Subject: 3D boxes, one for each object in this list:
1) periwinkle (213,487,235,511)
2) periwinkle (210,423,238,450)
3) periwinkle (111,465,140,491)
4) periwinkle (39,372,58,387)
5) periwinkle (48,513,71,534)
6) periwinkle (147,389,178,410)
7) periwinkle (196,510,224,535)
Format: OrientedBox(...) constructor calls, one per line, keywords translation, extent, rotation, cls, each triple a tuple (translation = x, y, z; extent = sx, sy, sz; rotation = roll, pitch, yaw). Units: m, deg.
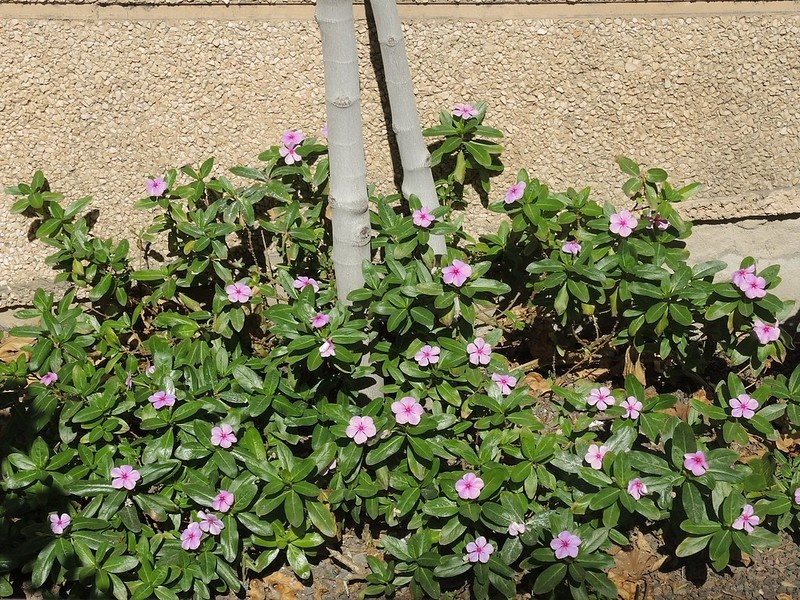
OrientedBox(translation=(-0.852, 0.969, 3.626), extent=(0.108, 0.087, 0.072), rotation=(-14, 42, -15), cls="periwinkle")
OrientedBox(translation=(-0.876, 0.682, 3.737), extent=(0.115, 0.117, 0.094), rotation=(6, 41, 9), cls="periwinkle")
OrientedBox(translation=(-1.327, 0.863, 3.640), extent=(0.138, 0.123, 0.088), rotation=(8, 41, 10), cls="periwinkle")
OrientedBox(translation=(-1.810, 0.405, 3.889), extent=(0.069, 0.021, 0.071), rotation=(31, 78, 4), cls="periwinkle")
OrientedBox(translation=(-1.635, 1.062, 3.605), extent=(0.105, 0.072, 0.079), rotation=(7, 41, 9), cls="periwinkle")
OrientedBox(translation=(-1.189, 0.501, 3.769), extent=(0.121, 0.065, 0.074), rotation=(-7, 41, -7), cls="periwinkle")
OrientedBox(translation=(-0.908, 1.062, 3.610), extent=(0.127, 0.089, 0.066), rotation=(9, 41, 12), cls="periwinkle")
